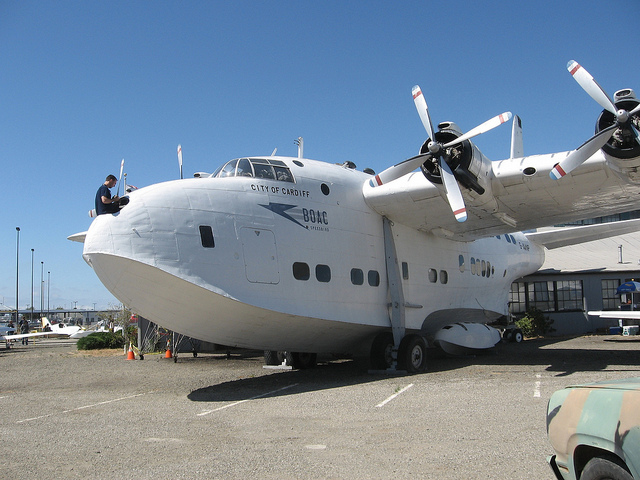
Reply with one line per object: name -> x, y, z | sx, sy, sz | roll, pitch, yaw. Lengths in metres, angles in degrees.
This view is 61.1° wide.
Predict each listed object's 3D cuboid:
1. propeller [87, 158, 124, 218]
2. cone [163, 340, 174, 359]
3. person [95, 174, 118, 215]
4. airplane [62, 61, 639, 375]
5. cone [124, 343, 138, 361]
propeller -> -4.082, -0.765, 10.470 | 0.289, 1.734, 0.187 | 2, -19, 32
cone -> -5.886, 4.240, 21.052 | 0.504, 0.762, 0.518 | -10, -16, 41
person -> -4.656, -0.989, 11.763 | 0.502, 0.812, 0.318 | -1, -4, -5
airplane -> 1.078, -0.133, 14.224 | 13.332, 7.327, 6.122 | 1, -5, -25
cone -> -7.274, 4.416, 20.881 | 0.352, 0.514, 0.363 | -12, -19, 38
